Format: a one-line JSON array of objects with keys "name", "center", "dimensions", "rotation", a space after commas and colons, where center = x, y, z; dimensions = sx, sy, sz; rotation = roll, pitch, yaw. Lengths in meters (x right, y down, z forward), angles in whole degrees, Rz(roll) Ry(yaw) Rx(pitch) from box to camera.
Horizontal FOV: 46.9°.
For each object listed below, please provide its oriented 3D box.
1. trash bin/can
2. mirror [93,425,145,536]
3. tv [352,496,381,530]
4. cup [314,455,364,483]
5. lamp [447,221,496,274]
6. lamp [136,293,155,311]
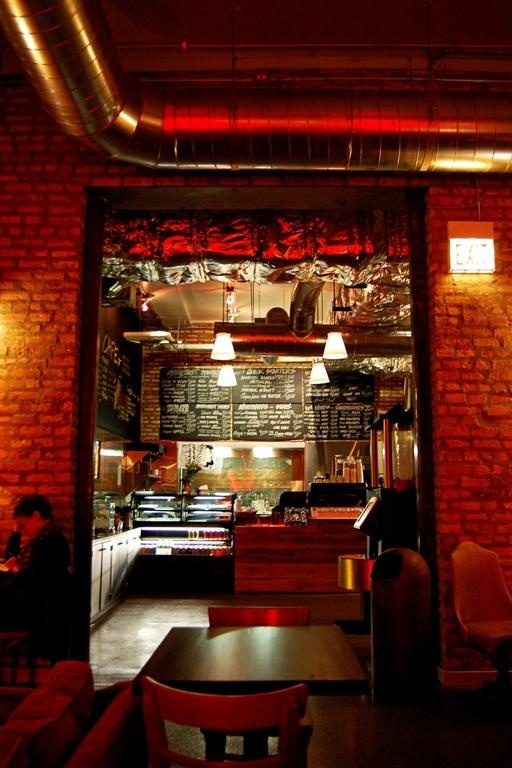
[{"name": "trash bin/can", "center": [0.843, 1.409, 3.465], "dimensions": [0.363, 0.847, 0.152], "rotation": [-2, -11, 9]}, {"name": "mirror", "center": [-1.677, 1.170, 7.210], "dimensions": [0.508, 1.162, 2.493], "rotation": [1, -10, -10]}, {"name": "tv", "center": [0.762, 0.910, 4.133], "dimensions": [0.167, 0.234, 0.244], "rotation": [-1, -10, 1]}, {"name": "cup", "center": [1.169, 1.244, 8.506], "dimensions": [0.433, 0.420, 0.239], "rotation": [1, -17, 0]}, {"name": "lamp", "center": [1.419, -0.897, 3.923], "dimensions": [0.324, 0.348, 0.113], "rotation": [1, -13, -2]}, {"name": "lamp", "center": [-1.484, -1.065, 7.838], "dimensions": [0.233, 0.090, 0.228], "rotation": [4, -5, -40]}]
